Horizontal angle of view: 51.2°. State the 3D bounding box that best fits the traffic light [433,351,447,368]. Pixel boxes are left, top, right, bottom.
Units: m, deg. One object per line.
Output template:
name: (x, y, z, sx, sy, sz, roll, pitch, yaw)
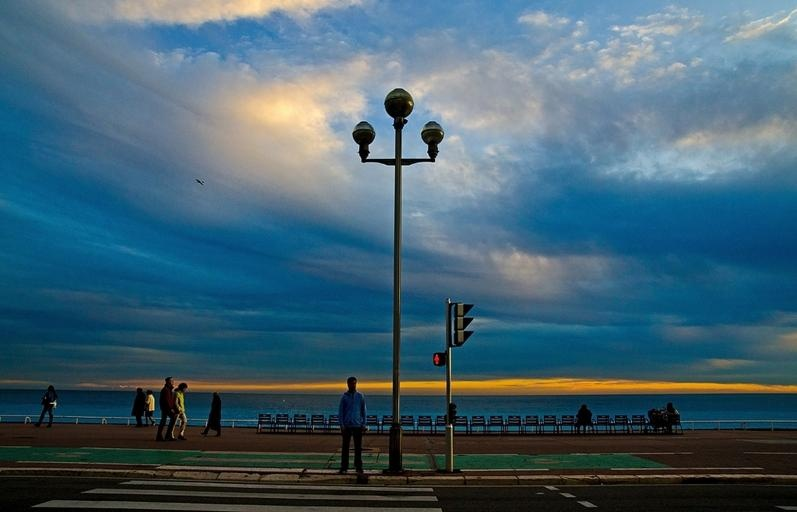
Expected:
traffic light: (1.504, 3.639, 29.408, 0.273, 0.415, 0.574, 8, -21, -30)
